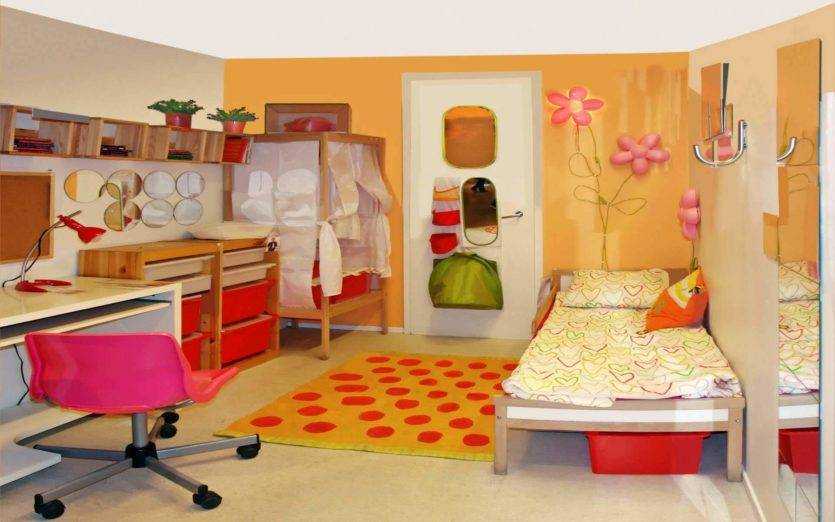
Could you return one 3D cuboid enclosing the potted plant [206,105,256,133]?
[{"bbox_3d":[-1.744,-1.332,5.653,0.506,0.202,0.469,-1,0,-10],"label":"potted plant"}]

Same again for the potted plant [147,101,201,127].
[{"bbox_3d":[-2.103,-1.270,5.094,0.383,0.133,0.366,1,1,19],"label":"potted plant"}]

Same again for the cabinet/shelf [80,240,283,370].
[{"bbox_3d":[-1.815,0.318,4.502,0.504,0.757,1.228,1,4,16],"label":"cabinet/shelf"}]

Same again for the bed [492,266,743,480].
[{"bbox_3d":[1.579,0.700,4.728,1.507,0.635,2.586,-2,15,18],"label":"bed"}]

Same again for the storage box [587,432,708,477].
[{"bbox_3d":[1.372,1.158,3.558,0.544,0.153,0.334,-1,-5,5],"label":"storage box"}]

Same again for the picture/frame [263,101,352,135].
[{"bbox_3d":[-1.125,-1.471,6.080,0.873,0.283,0.282,-1,11,-7],"label":"picture/frame"}]

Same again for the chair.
[{"bbox_3d":[-1.609,0.810,3.709,1.204,0.818,1.129,1,14,0],"label":"chair"}]

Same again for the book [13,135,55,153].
[{"bbox_3d":[-2.671,-0.800,4.124,0.072,0.106,0.262,5,12,25],"label":"book"}]
